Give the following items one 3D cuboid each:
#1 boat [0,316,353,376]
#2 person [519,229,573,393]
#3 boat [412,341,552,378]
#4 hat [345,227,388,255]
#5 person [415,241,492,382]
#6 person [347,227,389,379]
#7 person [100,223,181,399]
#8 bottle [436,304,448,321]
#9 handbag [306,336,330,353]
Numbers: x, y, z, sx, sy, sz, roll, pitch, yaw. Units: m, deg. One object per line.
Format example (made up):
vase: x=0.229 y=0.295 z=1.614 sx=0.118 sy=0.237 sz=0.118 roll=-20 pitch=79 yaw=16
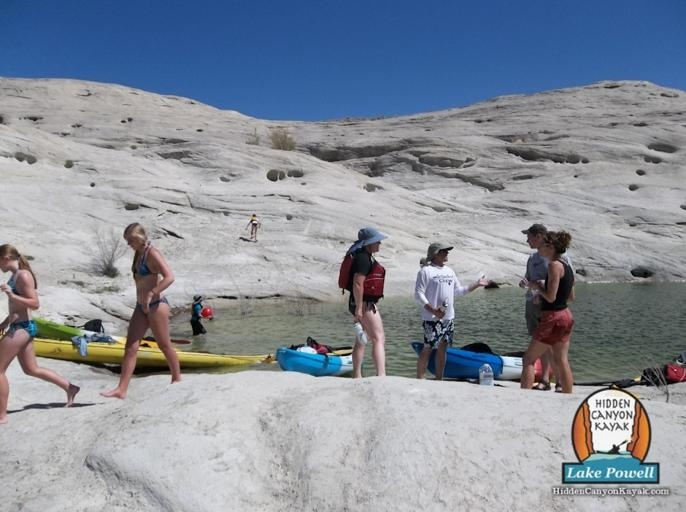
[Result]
boat: x=-3.052 y=1.671 z=10.866 sx=7.071 sy=0.628 sz=1.021 roll=5 pitch=-1 yaw=-15
person: x=2.679 y=0.702 z=7.608 sx=0.674 sy=1.725 sz=0.526 roll=4 pitch=-1 yaw=-7
boat: x=2.553 y=1.875 z=10.540 sx=2.840 sy=0.534 sz=0.829 roll=5 pitch=-11 yaw=-14
hat: x=0.265 y=-0.208 z=8.309 sx=0.541 sy=0.168 sz=0.389 roll=-21 pitch=1 yaw=31
person: x=1.430 y=0.803 z=8.464 sx=0.875 sy=1.739 sz=0.583 roll=4 pitch=-1 yaw=2
person: x=0.319 y=0.660 z=8.273 sx=0.657 sy=1.943 sz=1.018 roll=4 pitch=-1 yaw=2
person: x=-2.507 y=0.710 z=7.585 sx=0.921 sy=2.236 sz=1.043 roll=5 pitch=-1 yaw=-17
bottle: x=1.399 y=0.773 z=8.261 sx=0.107 sy=0.187 sz=0.166 roll=17 pitch=2 yaw=1
handbag: x=-0.587 y=1.653 z=11.006 sx=0.221 sy=0.226 sz=0.695 roll=-12 pitch=6 yaw=-41
